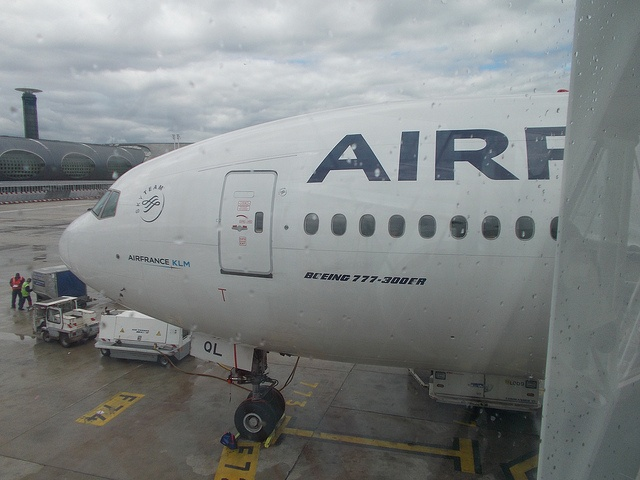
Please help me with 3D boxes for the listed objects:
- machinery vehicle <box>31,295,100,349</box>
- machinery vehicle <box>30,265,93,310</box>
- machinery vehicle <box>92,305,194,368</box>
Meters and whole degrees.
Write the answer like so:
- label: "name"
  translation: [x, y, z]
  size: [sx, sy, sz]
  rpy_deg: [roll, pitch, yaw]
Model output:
- label: "machinery vehicle"
  translation: [-9.159, 2.845, 17.593]
  size: [2.152, 1.282, 1.520]
  rpy_deg: [7, 6, 22]
- label: "machinery vehicle"
  translation: [-10.813, 1.888, 20.079]
  size: [2.021, 1.490, 1.397]
  rpy_deg: [5, 7, 26]
- label: "machinery vehicle"
  translation: [-5.661, 3.155, 16.302]
  size: [2.981, 1.746, 2.003]
  rpy_deg: [2, 2, 6]
